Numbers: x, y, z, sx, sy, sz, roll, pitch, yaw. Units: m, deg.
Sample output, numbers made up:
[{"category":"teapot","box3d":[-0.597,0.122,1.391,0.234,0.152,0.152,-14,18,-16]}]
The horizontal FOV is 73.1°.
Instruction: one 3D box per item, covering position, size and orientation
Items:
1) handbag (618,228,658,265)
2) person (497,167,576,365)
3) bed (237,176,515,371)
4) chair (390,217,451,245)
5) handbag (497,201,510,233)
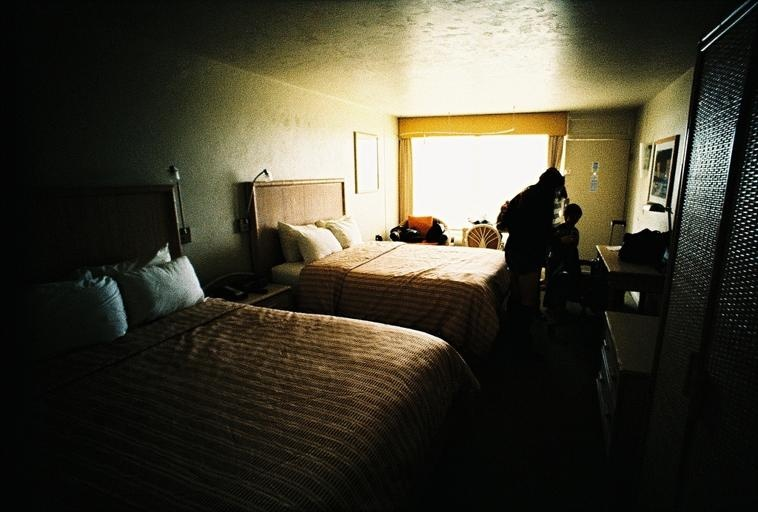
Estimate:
[{"category":"handbag","box3d":[2.249,-0.075,4.394,0.329,0.306,0.250,4,7,30]},{"category":"person","box3d":[1.261,0.025,4.421,0.514,1.539,0.559,4,12,24]},{"category":"bed","box3d":[0.050,0.138,4.885,2.175,1.334,1.738,4,14,18]},{"category":"chair","box3d":[0.574,-0.347,7.283,0.613,0.424,0.495,1,2,13]},{"category":"handbag","box3d":[1.147,-0.363,4.700,0.064,0.283,0.309,2,-6,20]}]
